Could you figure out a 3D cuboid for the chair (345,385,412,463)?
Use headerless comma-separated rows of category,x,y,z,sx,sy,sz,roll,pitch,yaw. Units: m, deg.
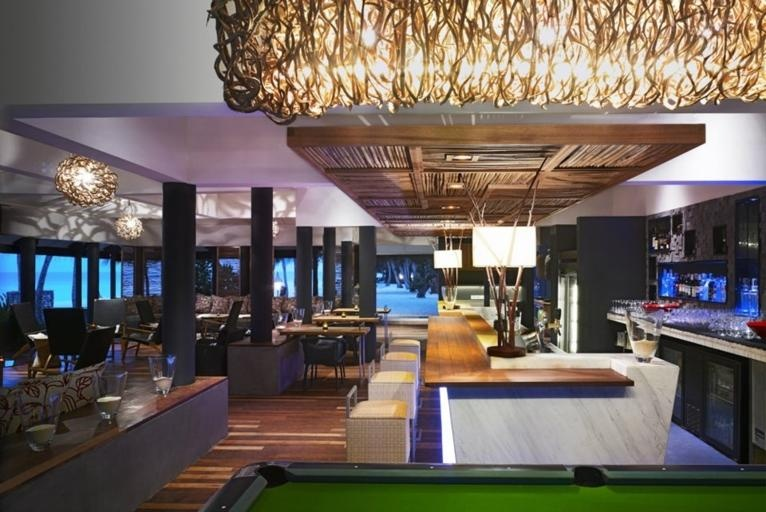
chair,-0.042,1.601,5.255,0.585,0.654,0.626,-1,3,-1

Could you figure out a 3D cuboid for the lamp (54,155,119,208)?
lamp,-3.863,-0.986,7.090,0.687,0.591,0.734,-2,4,-20

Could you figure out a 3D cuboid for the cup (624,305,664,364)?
cup,2.358,0.749,4.935,0.397,0.542,0.394,0,-6,0

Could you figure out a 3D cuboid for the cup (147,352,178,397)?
cup,-2.345,1.242,5.824,0.223,0.439,0.360,-3,4,-21

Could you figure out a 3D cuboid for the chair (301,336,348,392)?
chair,-0.923,1.716,9.194,0.921,1.114,0.821,0,1,1

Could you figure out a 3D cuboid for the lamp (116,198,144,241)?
lamp,-5.864,-0.871,12.601,0.492,0.855,1.655,-3,3,-23
